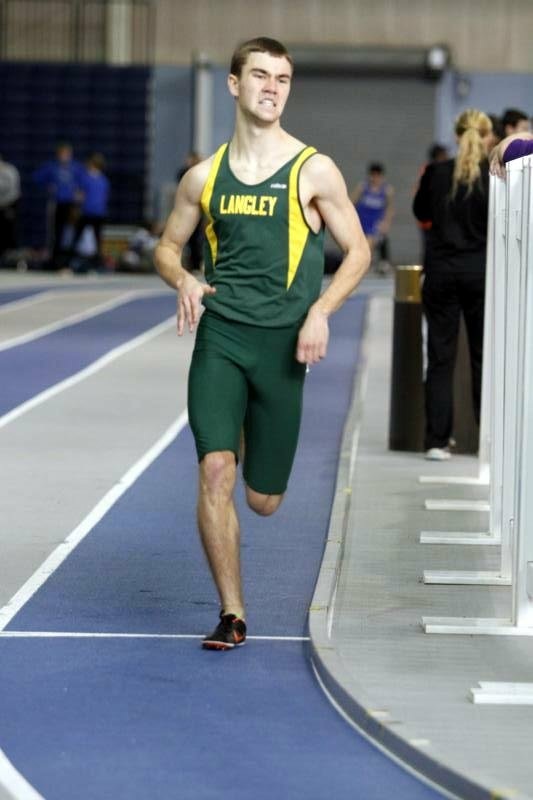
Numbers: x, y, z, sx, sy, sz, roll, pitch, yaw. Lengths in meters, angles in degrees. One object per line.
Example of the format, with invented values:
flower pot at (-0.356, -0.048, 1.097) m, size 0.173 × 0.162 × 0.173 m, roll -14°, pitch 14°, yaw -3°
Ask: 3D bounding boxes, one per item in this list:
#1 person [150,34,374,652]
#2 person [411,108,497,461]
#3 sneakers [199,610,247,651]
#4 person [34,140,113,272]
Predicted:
person at (0.001, -0.189, 2.820) m, size 0.598 × 1.746 × 0.482 m, roll -2°, pitch 8°, yaw -6°
person at (1.073, -0.631, 5.578) m, size 0.449 × 2.012 × 0.391 m, roll 2°, pitch 8°, yaw 18°
sneakers at (-0.126, 0.646, 2.737) m, size 0.149 × 0.144 × 0.067 m, roll -2°, pitch 18°, yaw -9°
person at (-3.374, -3.388, 16.772) m, size 1.144 × 2.154 × 0.593 m, roll -6°, pitch 9°, yaw -33°
